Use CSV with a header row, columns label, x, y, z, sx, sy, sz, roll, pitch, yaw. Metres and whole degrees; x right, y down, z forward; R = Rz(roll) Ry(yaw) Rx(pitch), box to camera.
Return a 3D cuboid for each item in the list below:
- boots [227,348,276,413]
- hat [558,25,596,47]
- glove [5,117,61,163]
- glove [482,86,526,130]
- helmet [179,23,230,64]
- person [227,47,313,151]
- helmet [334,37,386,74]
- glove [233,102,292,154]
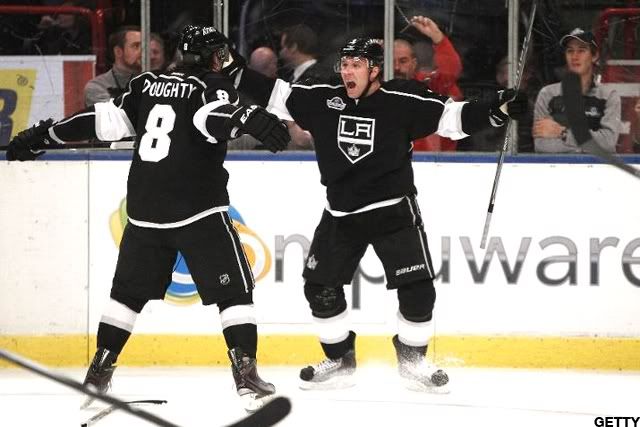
label,x,y,z,sx,sy,sz,roll,pitch,yaw
boots,-0.438,1.030,5.662,0.196,0.330,0.518,-29,-30,11
hat,1.868,-1.290,6.660,0.252,0.134,0.052,3,15,11
glove,-1.805,-0.472,5.826,0.315,0.261,0.141,-36,5,-4
glove,1.161,-0.666,5.690,0.236,0.228,0.095,3,15,14
helmet,-0.706,-1.084,5.763,0.228,0.190,0.297,25,31,36
person,-0.332,-0.847,6.728,0.781,0.683,0.206,-3,-11,30
helmet,0.279,-1.042,5.997,0.298,0.242,0.215,14,-16,-29
glove,-0.325,-0.504,5.344,0.359,0.223,0.107,36,4,7
